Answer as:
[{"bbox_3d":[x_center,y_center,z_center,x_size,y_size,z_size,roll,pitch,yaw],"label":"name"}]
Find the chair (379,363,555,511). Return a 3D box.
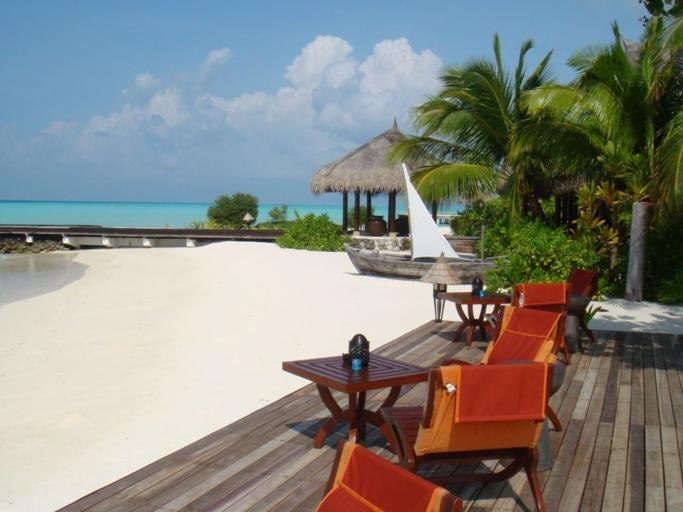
[{"bbox_3d":[0.981,1.273,4.636,0.821,1.088,1.246,0,6,-8],"label":"chair"}]

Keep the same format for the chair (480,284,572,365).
[{"bbox_3d":[2.106,0.787,6.283,0.662,0.991,1.288,1,9,33],"label":"chair"}]

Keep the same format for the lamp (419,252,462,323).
[{"bbox_3d":[1.689,0.542,9.809,0.628,1.266,0.632,-6,12,-34],"label":"lamp"}]

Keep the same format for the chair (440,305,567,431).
[{"bbox_3d":[1.629,1.052,5.616,1.209,1.363,0.873,18,-13,-38],"label":"chair"}]

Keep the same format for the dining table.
[{"bbox_3d":[2.026,0.927,8.567,1.029,0.746,1.158,0,5,19],"label":"dining table"}]
